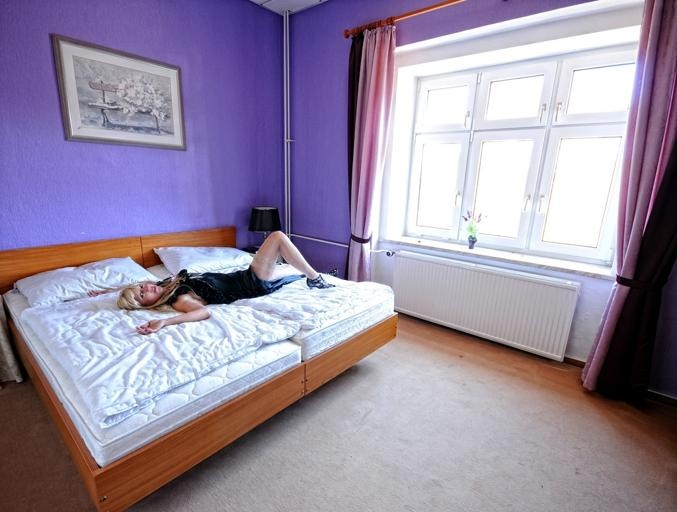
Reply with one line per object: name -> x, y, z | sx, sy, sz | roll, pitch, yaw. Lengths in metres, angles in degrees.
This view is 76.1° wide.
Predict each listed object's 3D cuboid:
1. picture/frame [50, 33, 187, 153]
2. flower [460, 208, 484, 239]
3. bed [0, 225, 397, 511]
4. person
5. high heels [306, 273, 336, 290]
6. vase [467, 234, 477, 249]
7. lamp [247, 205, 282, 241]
picture/frame -> -1.875, -1.382, 3.601 | 0.039, 0.812, 1.093 | 16, 19, 42
flower -> 1.282, -0.304, 4.130 | 0.210, 0.249, 0.190 | 7, 15, 17
bed -> -1.083, 0.588, 3.471 | 2.141, 1.267, 2.271 | 15, 19, 43
person -> -0.879, 0.227, 3.235 | 1.229, 0.393, 0.903 | -9, 21, -34
high heels -> -0.150, 0.211, 3.516 | 0.271, 0.123, 0.095 | 1, 15, -3
vase -> 1.260, -0.137, 4.122 | 0.107, 0.113, 0.103 | -16, 29, -31
lamp -> -0.688, -0.356, 4.395 | 0.335, 0.389, 0.334 | -17, 29, -37
